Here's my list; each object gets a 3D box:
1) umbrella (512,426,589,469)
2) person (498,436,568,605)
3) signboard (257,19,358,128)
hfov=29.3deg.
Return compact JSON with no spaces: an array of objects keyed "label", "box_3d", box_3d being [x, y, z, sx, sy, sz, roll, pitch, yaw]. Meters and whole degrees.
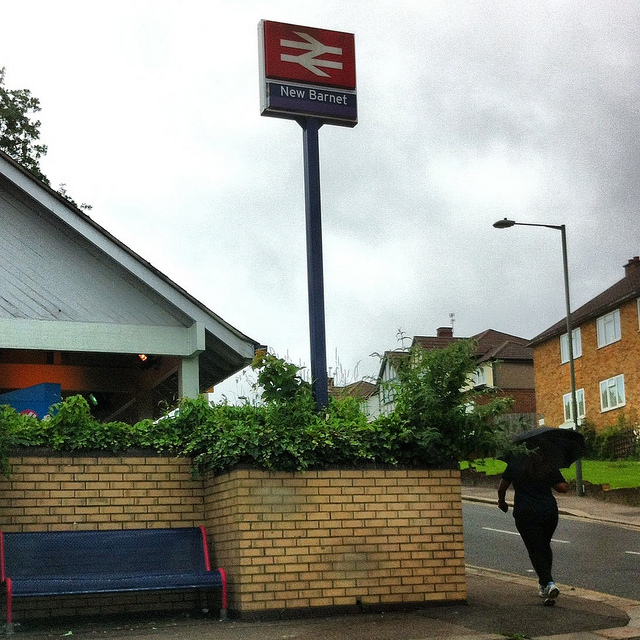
[{"label":"umbrella","box_3d":[2.677,1.474,13.928,0.856,0.475,0.614,-2,0,3]},{"label":"person","box_3d":[2.398,2.216,13.489,0.737,1.814,1.043,-2,0,12]},{"label":"signboard","box_3d":[-0.119,-3.130,15.312,1.276,1.235,0.269,-2,0,-23]}]
